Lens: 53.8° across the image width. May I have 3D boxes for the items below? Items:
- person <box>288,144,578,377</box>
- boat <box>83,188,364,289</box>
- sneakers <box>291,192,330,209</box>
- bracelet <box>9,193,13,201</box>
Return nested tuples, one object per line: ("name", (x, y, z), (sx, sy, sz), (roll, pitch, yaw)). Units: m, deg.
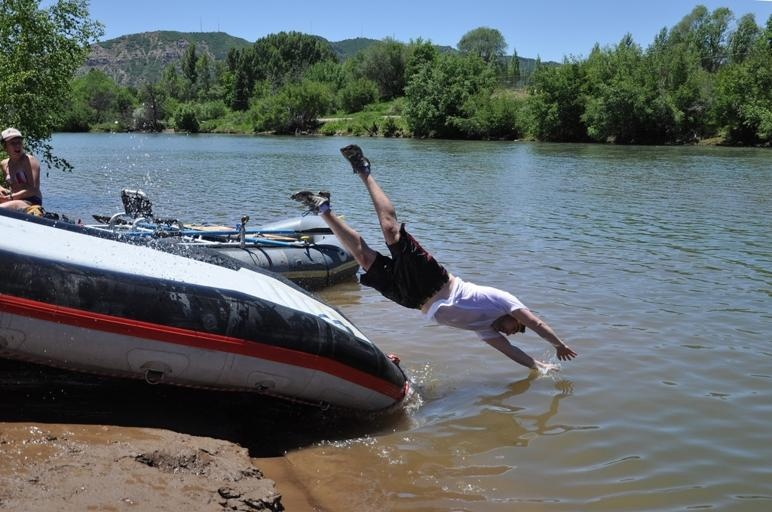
("person", (0.811, 0.329, 10.396), (1.133, 4.163, 1.201), (-54, 4, -29))
("boat", (-2.548, -0.251, 13.870), (4.257, 0.798, 2.232), (18, 1, -26))
("sneakers", (-1.025, -0.720, 10.192), (0.464, 0.190, 0.271), (17, 32, 11))
("bracelet", (-6.054, -0.938, 12.291), (0.039, 0.108, 0.094), (-3, 2, 0))
